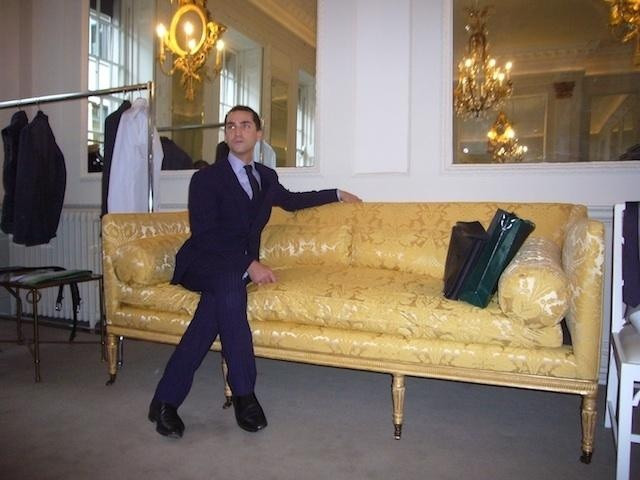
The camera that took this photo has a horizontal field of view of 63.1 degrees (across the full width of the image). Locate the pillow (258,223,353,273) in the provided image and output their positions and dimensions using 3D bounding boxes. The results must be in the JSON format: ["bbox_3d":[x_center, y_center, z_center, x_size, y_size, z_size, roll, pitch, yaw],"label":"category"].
[{"bbox_3d":[-0.070,0.035,3.658,0.511,0.349,0.165,-4,-13,15],"label":"pillow"}]

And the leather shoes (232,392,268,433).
[{"bbox_3d":[-0.395,0.968,2.937,0.119,0.108,0.249,-11,8,-30],"label":"leather shoes"}]

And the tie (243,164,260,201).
[{"bbox_3d":[-0.446,-0.383,3.434,0.108,0.212,0.044,-16,15,-39],"label":"tie"}]

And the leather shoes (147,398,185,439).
[{"bbox_3d":[-0.854,0.991,2.895,0.116,0.116,0.253,10,-1,-44],"label":"leather shoes"}]

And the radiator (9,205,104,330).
[{"bbox_3d":[-2.220,0.226,4.436,0.981,1.031,0.230,-1,-2,17],"label":"radiator"}]

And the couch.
[{"bbox_3d":[0.148,0.338,3.418,2.962,1.240,1.274,5,14,18],"label":"couch"}]
